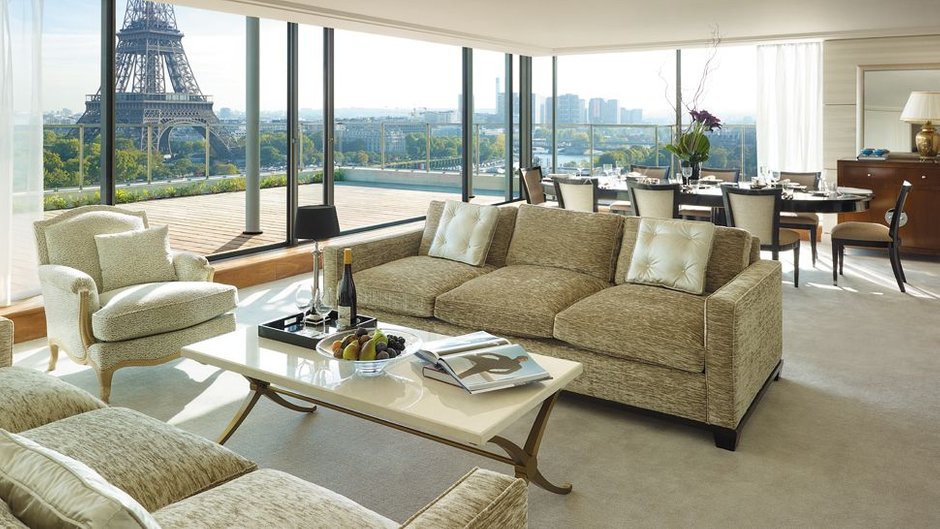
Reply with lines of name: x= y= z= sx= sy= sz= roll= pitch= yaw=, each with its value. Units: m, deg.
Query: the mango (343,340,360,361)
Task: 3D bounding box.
mango: x=-0.727 y=0.522 z=3.483 sx=0.095 sy=0.112 sz=0.046 roll=21 pitch=-18 yaw=11

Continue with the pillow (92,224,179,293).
pillow: x=-2.933 y=-0.035 z=4.925 sx=0.584 sy=0.240 sz=0.418 roll=-10 pitch=58 yaw=-22

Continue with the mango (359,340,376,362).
mango: x=-0.625 y=0.533 z=3.472 sx=0.093 sy=0.105 sz=0.052 roll=24 pitch=-2 yaw=21

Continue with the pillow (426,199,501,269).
pillow: x=-0.062 y=-0.292 z=5.346 sx=0.660 sy=0.591 sz=0.198 roll=12 pitch=-8 yaw=28

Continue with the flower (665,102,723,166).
flower: x=2.846 y=-1.606 z=7.273 sx=0.596 sy=0.690 sz=0.386 roll=5 pitch=18 yaw=20

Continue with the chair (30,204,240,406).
chair: x=-2.824 y=0.187 z=5.385 sx=1.830 sy=1.678 sz=1.527 roll=10 pitch=12 yaw=33
